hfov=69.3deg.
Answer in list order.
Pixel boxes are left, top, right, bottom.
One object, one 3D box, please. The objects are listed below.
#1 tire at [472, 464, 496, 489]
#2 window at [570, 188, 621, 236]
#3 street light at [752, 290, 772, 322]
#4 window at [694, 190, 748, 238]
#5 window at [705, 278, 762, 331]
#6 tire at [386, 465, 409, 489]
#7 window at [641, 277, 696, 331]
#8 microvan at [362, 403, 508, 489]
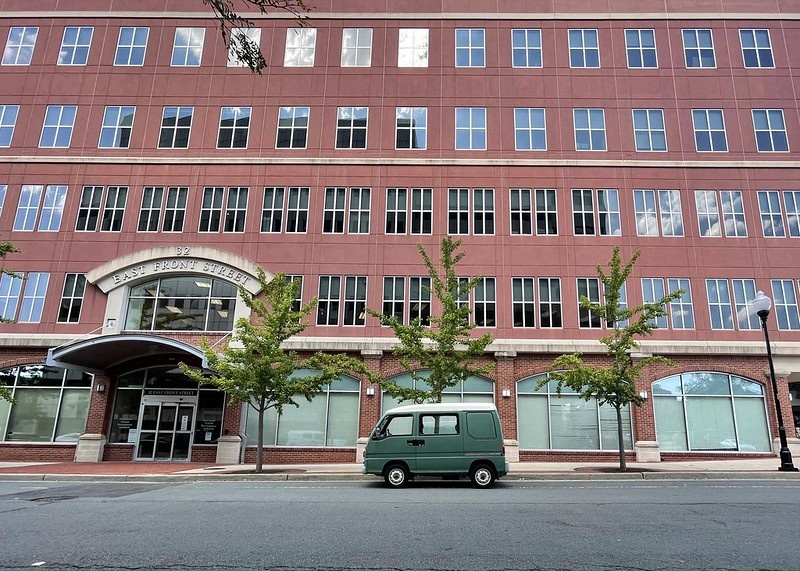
[{"bbox_3d":[2.940,6.762,20.549,0.617,0.604,0.216,-40,-17,-10],"label":"tire"},{"bbox_3d":[11.076,-4.174,32.761,3.232,2.769,0.219,-1,-3,-16],"label":"window"},{"bbox_3d":[16.190,0.892,25.886,0.574,1.468,1.271,-9,-17,26],"label":"street light"},{"bbox_3d":[18.017,-3.924,32.533,3.339,3.212,0.136,0,-22,-2],"label":"window"},{"bbox_3d":[17.791,1.127,30.889,3.295,2.556,0.139,1,-15,-2],"label":"window"},{"bbox_3d":[-0.136,6.867,20.794,0.743,0.650,0.244,9,-21,9],"label":"tire"},{"bbox_3d":[13.894,1.060,30.006,3.251,3.005,0.130,0,-16,-1],"label":"window"},{"bbox_3d":[0.735,6.054,21.951,6.392,2.908,2.774,8,-15,-25],"label":"microvan"}]
